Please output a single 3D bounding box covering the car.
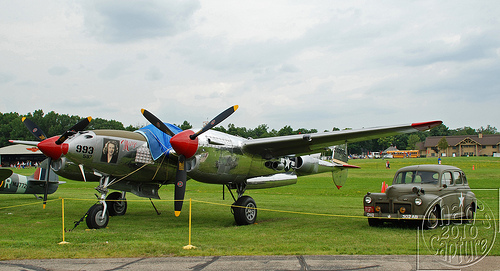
[{"bbox_3d":[9.562,3.333,22.248,6.100,3.452,1.882,2,-8,-15],"label":"car"}]
